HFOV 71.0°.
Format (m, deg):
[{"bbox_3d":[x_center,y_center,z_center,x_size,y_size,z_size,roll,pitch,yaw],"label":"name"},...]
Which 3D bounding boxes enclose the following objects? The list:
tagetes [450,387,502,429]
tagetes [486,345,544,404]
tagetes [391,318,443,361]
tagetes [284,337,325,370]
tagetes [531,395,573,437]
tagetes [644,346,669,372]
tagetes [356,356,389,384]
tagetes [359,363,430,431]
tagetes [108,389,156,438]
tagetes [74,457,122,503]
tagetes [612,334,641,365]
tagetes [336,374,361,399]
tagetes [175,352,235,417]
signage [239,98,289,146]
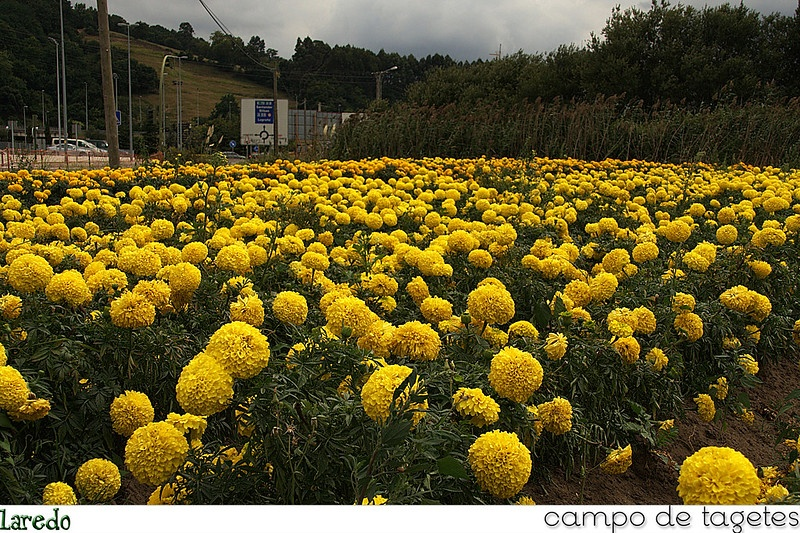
[{"bbox_3d":[0.334,0.599,2.474,0.192,0.093,0.187,30,-7,-21],"label":"tagetes"},{"bbox_3d":[0.518,0.509,2.541,0.230,0.249,0.152,11,19,11],"label":"tagetes"},{"bbox_3d":[0.074,0.340,2.628,0.193,0.094,0.190,-2,49,0],"label":"tagetes"},{"bbox_3d":[-0.426,0.399,2.451,0.140,0.073,0.145,-1,16,22],"label":"tagetes"},{"bbox_3d":[0.752,0.729,2.769,0.189,0.177,0.127,4,11,13],"label":"tagetes"},{"bbox_3d":[1.481,0.530,3.270,0.134,0.126,0.068,-26,13,10],"label":"tagetes"},{"bbox_3d":[-0.123,0.438,2.412,0.105,0.037,0.103,5,11,29],"label":"tagetes"},{"bbox_3d":[-0.025,0.517,2.238,0.247,0.197,0.246,4,11,17],"label":"tagetes"},{"bbox_3d":[-1.262,0.677,2.636,0.229,0.217,0.214,5,-14,-28],"label":"tagetes"},{"bbox_3d":[-1.405,0.987,2.697,0.211,0.201,0.206,5,2,-2],"label":"tagetes"},{"bbox_3d":[1.263,0.461,3.099,0.151,0.143,0.114,-12,7,4],"label":"tagetes"},{"bbox_3d":[-0.215,0.514,2.363,0.098,0.063,0.151,5,19,-5],"label":"tagetes"},{"bbox_3d":[-0.805,0.460,2.288,0.226,0.125,0.207,2,32,19],"label":"tagetes"},{"bbox_3d":[-8.433,-9.212,35.659,3.362,2.904,1.198,4,7,13],"label":"signage"}]
